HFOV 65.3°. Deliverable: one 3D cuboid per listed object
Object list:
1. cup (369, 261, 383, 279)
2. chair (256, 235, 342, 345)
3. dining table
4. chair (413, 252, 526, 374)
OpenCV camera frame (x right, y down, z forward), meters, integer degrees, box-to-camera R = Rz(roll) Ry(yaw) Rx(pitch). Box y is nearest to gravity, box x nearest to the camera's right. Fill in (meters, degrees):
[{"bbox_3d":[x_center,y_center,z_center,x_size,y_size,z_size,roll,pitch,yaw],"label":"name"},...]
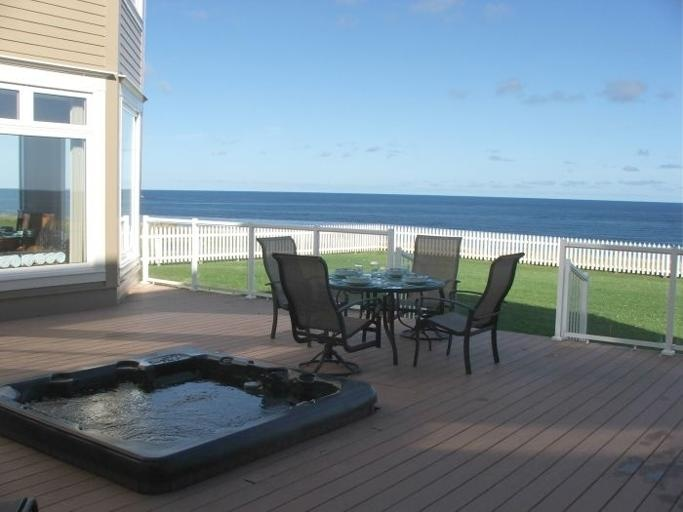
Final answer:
[{"bbox_3d":[0.407,0.170,6.515,0.219,0.338,0.201,0,-1,0],"label":"cup"},{"bbox_3d":[-0.759,0.295,6.342,1.195,1.364,1.025,-2,5,-11],"label":"chair"},{"bbox_3d":[0.381,0.499,5.664,1.039,0.572,1.021,20,-15,-27],"label":"dining table"},{"bbox_3d":[1.260,0.550,5.372,0.950,1.078,0.805,1,2,31],"label":"chair"}]
